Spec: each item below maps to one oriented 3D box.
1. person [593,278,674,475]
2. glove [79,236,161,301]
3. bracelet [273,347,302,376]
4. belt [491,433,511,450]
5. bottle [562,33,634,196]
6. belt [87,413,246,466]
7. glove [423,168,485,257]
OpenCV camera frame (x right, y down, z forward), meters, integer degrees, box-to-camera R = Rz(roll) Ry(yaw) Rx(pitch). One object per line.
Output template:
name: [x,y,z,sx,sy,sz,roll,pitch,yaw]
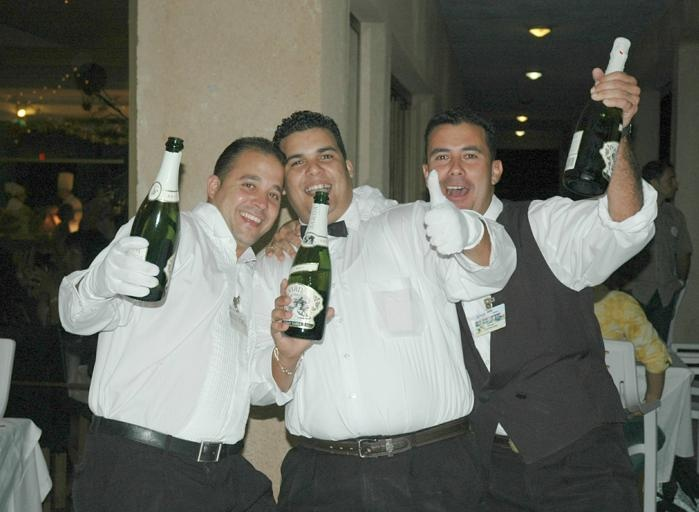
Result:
person: [1.713,0.790,4.776,0.695,0.978,0.740,-5,29,31]
glove: [-0.999,0.015,3.022,0.304,0.271,0.476,-5,10,-7]
bracelet: [-0.303,0.493,3.339,0.103,0.144,0.050,-1,-22,5]
belt: [0.752,0.907,3.494,0.072,0.071,0.073,1,-12,1]
bottle: [1.093,-0.488,3.180,0.232,0.457,0.409,3,8,22]
belt: [-0.821,0.825,3.219,0.669,0.237,0.153,-2,8,-11]
glove: [0.420,-0.189,2.960,0.250,0.358,0.149,-10,7,6]
